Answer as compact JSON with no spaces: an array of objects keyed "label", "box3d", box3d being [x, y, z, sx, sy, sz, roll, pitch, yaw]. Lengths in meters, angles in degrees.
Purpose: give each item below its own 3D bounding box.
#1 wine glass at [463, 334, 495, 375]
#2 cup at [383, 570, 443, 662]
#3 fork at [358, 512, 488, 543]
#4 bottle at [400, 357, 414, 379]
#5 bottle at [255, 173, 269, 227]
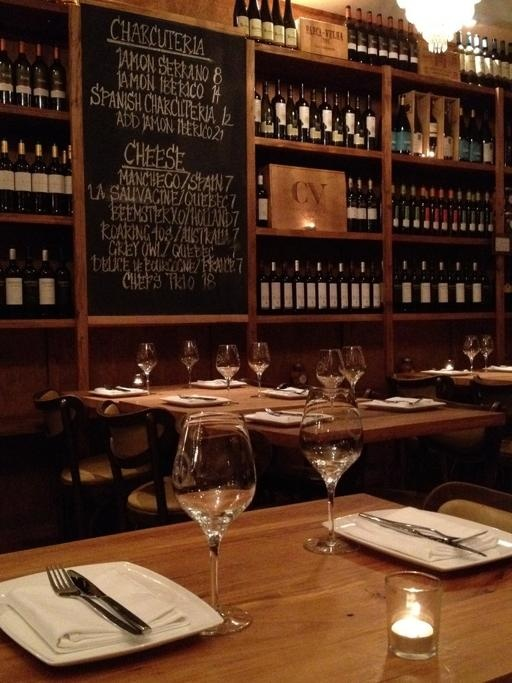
[{"label":"wine glass","box3d":[1.621,0.092,4.070,0.241,0.408,0.123,0,-3,4]},{"label":"cup","box3d":[0.124,0.213,0.452,0.046,0.061,0.045,0,3,0]},{"label":"fork","box3d":[0.209,0.244,0.721,0.115,0.019,0.023,4,19,23]},{"label":"bottle","box3d":[1.127,0.206,4.177,0.081,0.158,0.095,-3,3,-13]},{"label":"bottle","box3d":[0.039,-0.992,3.845,0.083,0.344,0.128,-1,0,0]}]
